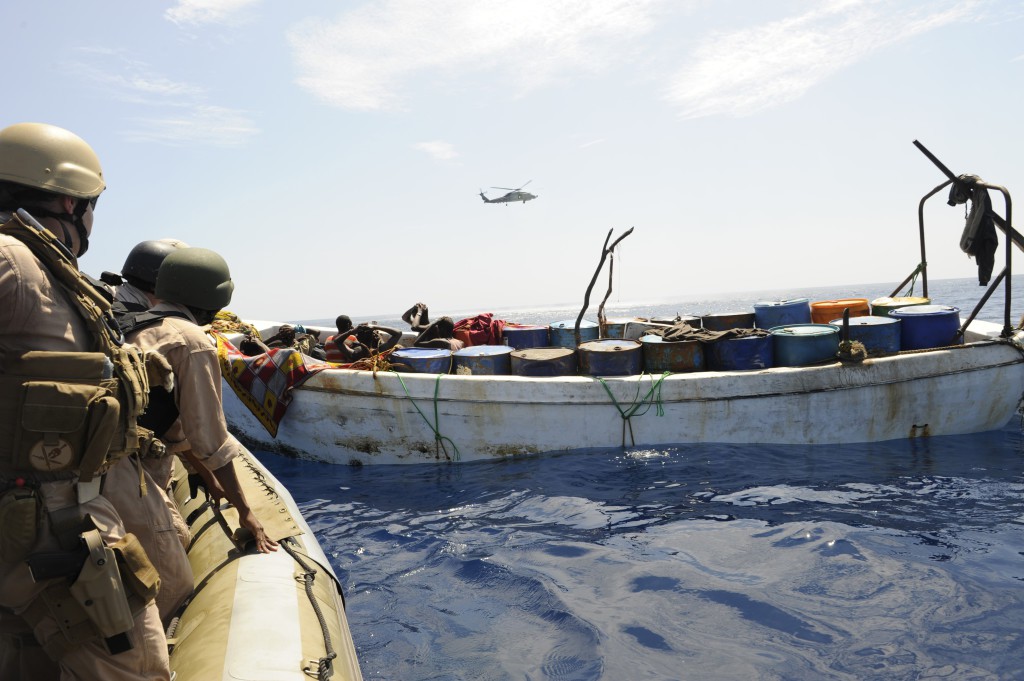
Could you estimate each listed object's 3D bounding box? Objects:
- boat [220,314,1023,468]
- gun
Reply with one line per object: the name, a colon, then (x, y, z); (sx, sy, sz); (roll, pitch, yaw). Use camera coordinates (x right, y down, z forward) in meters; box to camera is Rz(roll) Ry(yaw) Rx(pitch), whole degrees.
boat: (3.417, 0.941, 12.669); (14.113, 1.920, 2.794); (-2, -4, 4)
gun: (-2.953, 1.786, 6.452); (0.307, 0.733, 0.542); (-15, 30, 14)
